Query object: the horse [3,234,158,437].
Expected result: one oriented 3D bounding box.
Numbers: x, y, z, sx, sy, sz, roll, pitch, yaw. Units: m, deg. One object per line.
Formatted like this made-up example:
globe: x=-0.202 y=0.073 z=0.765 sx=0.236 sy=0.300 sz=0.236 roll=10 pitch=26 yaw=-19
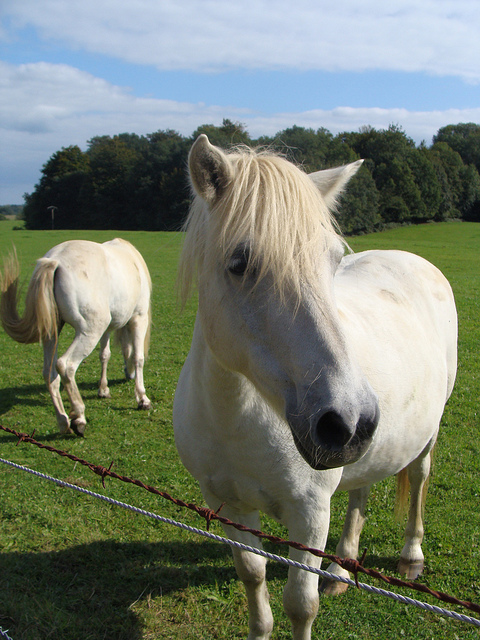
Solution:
horse: x=-1.856 y=0.118 z=8.691 sx=1.696 sy=2.132 sz=2.758 roll=3 pitch=13 yaw=-5
